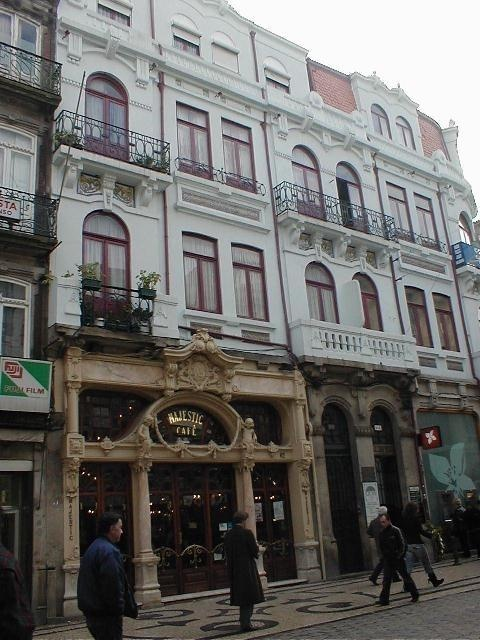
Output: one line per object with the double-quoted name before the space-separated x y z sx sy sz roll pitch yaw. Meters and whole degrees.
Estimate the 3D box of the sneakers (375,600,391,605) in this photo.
"sneakers" 2.205 4.391 9.412 0.221 0.083 0.305 -8 -19 8

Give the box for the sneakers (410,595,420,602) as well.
"sneakers" 2.730 4.368 9.494 0.159 0.149 0.074 13 -30 -18

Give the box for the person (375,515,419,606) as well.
"person" 2.464 3.853 9.836 0.640 1.320 0.838 -9 -19 12

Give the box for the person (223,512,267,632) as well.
"person" 0.047 3.377 8.163 0.451 1.504 0.424 -4 -19 -3

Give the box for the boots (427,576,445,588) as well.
"boots" 3.554 4.725 11.002 0.225 0.211 0.537 -11 -19 17

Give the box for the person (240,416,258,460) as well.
"person" 0.204 2.872 14.562 0.295 0.949 0.469 -9 -19 10

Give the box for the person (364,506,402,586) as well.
"person" 3.004 4.772 12.590 0.707 1.665 0.501 -4 10 6

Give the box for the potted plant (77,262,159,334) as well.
"potted plant" -2.656 -0.526 13.158 1.767 1.778 1.290 5 -21 -28

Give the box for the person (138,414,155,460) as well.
"person" -1.986 2.499 12.894 0.262 0.927 0.507 -12 -20 19
